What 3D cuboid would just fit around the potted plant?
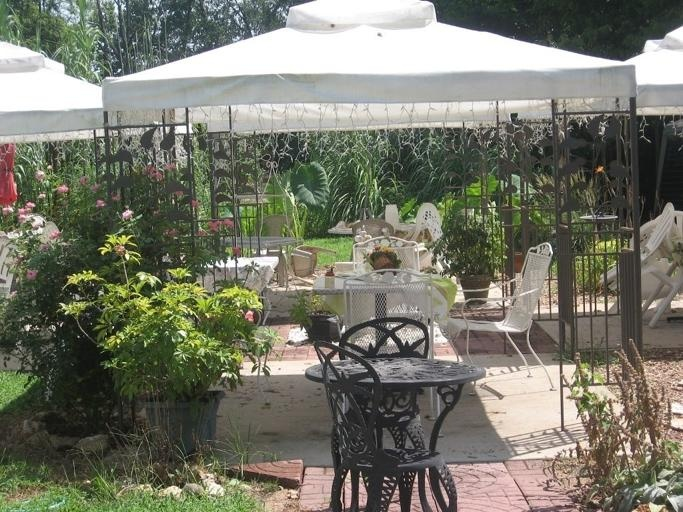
[{"bbox_3d":[-1.268,0.477,5.440,1.399,1.845,1.533,0,6,8],"label":"potted plant"}]
